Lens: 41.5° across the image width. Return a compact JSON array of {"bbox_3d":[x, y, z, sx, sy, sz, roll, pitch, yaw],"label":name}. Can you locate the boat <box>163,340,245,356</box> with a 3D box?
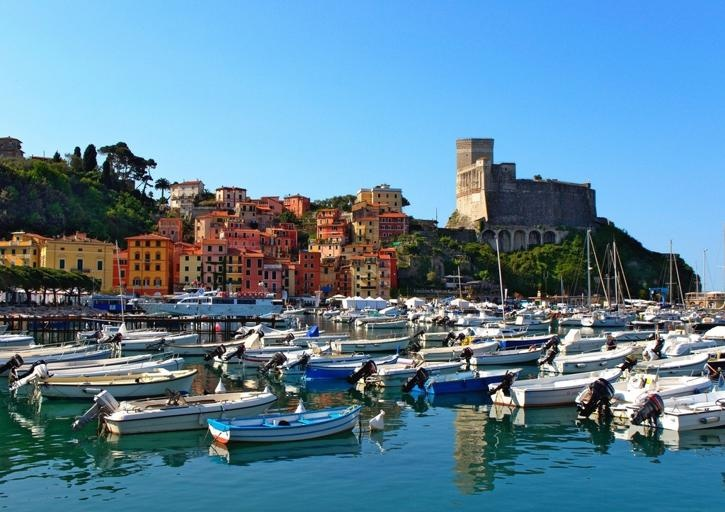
[{"bbox_3d":[-11.763,6.737,70.183,4.626,0.781,1.097,-2,-4,-9],"label":"boat"}]

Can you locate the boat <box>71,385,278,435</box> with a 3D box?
[{"bbox_3d":[-9.710,8.385,51.108,10.345,2.686,3.585,-3,1,-22],"label":"boat"}]
